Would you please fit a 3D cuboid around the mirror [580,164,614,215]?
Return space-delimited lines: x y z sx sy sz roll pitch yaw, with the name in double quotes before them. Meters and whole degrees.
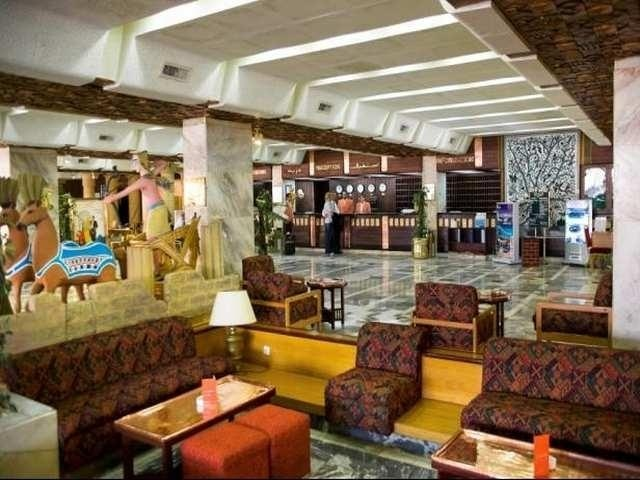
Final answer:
"mirror" 8.670 -1.568 13.957 0.871 1.549 0.215 4 10 27

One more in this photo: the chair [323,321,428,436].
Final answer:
"chair" 0.558 1.379 4.543 0.723 0.900 0.818 6 11 34

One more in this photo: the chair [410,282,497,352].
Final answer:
"chair" 1.646 0.918 5.240 0.814 0.641 0.735 -4 -12 37

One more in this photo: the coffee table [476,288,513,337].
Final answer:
"coffee table" 2.387 1.050 6.101 0.353 0.352 0.323 -14 4 -37

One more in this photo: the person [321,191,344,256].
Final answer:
"person" 0.466 -0.594 15.950 0.647 2.163 1.102 0 9 1

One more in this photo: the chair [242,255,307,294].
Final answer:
"chair" -0.652 0.555 6.697 0.587 0.788 0.842 7 8 44

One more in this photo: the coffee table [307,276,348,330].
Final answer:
"coffee table" 0.195 1.050 7.488 0.794 0.734 0.743 -1 0 -3

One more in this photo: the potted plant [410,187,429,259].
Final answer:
"potted plant" 3.315 -0.513 14.423 0.519 2.131 1.083 1 9 11

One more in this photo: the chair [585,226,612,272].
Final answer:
"chair" 6.975 0.198 11.438 0.565 0.863 0.963 2 4 4

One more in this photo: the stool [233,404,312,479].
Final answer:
"stool" -0.381 1.788 3.969 0.587 0.533 0.554 0 -1 -45

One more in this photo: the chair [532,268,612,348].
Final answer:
"chair" 3.172 0.854 5.513 0.934 0.834 1.138 -1 2 24

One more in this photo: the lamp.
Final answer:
"lamp" -0.966 1.013 5.009 0.549 0.854 0.524 -4 -3 4

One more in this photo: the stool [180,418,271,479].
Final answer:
"stool" -0.743 1.564 3.502 0.480 0.393 0.482 -1 -1 32

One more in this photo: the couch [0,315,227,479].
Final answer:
"couch" -2.174 1.056 4.491 1.011 0.900 2.154 -1 3 39
